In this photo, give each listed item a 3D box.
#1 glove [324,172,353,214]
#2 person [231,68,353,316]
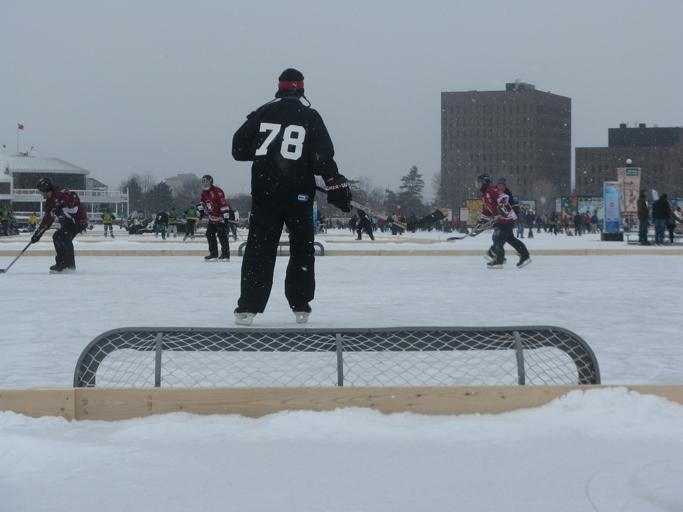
[{"bbox_3d":[-0.010,-0.505,9.194,0.205,0.298,0.369,0,4,-1],"label":"glove"},{"bbox_3d":[-0.407,-0.479,9.282,0.894,2.056,0.440,0,3,-6],"label":"person"}]
